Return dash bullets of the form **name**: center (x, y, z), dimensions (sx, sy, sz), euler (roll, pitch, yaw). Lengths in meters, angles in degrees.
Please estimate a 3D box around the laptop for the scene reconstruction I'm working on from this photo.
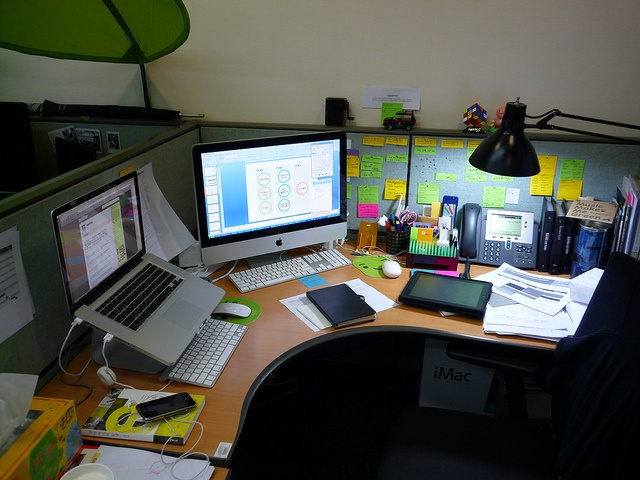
- **laptop**: center (-0.535, 0.071, 1.430), dimensions (0.321, 0.469, 0.344), euler (2, 22, 9)

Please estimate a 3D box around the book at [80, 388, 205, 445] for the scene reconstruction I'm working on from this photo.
- **book**: center (-0.491, 0.470, 1.260), dimensions (0.195, 0.020, 0.143), euler (3, 25, 5)

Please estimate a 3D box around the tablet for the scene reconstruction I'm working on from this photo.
- **tablet**: center (0.463, 0.174, 1.701), dimensions (0.216, 0.041, 0.176), euler (12, 35, 21)

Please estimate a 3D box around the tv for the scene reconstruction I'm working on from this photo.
- **tv**: center (-0.194, -0.146, 1.817), dimensions (0.507, 0.389, 0.094), euler (-12, 26, -23)

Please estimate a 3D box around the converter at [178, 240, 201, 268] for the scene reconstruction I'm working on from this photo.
- **converter**: center (-0.519, 0.058, 1.828), dimensions (0.082, 0.081, 0.043), euler (-12, 10, -14)

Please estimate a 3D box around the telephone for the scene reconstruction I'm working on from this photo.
- **telephone**: center (0.725, 0.001, 1.920), dimensions (0.303, 0.235, 0.248), euler (3, 40, 23)

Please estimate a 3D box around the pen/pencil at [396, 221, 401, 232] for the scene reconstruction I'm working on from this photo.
- **pen/pencil**: center (0.332, -0.053, 1.971), dimensions (0.027, 0.050, 0.027), euler (-1, 10, 7)

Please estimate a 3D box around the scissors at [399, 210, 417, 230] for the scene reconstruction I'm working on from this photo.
- **scissors**: center (0.376, -0.092, 2.012), dimensions (0.057, 0.011, 0.100), euler (10, 52, 21)

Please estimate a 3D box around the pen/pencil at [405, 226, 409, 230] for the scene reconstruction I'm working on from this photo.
- **pen/pencil**: center (0.369, -0.048, 1.985), dimensions (0.009, 0.017, 0.016), euler (13, 31, 37)

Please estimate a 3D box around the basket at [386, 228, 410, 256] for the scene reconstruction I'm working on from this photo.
- **basket**: center (0.325, 0.010, 2.029), dimensions (0.098, 0.109, 0.099), euler (13, 27, 25)

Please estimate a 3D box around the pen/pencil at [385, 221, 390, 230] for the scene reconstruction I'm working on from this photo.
- **pen/pencil**: center (0.288, -0.061, 1.997), dimensions (0.006, 0.028, 0.020), euler (3, 8, -13)

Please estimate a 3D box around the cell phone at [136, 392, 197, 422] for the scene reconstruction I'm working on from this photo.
- **cell phone**: center (-0.425, 0.462, 1.289), dimensions (0.158, 0.017, 0.086), euler (-10, 19, -40)

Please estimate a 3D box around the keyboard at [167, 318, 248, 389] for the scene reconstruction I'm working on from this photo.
- **keyboard**: center (-0.356, 0.356, 1.497), dimensions (0.155, 0.024, 0.268), euler (10, 34, 6)

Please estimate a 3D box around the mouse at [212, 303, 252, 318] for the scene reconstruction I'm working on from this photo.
- **mouse**: center (-0.308, 0.244, 1.632), dimensions (0.108, 0.027, 0.055), euler (6, 27, 0)

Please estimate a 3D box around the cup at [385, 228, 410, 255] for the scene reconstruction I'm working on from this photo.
- **cup**: center (0.329, 0.006, 2.044), dimensions (0.098, 0.107, 0.099), euler (1, 24, 0)
